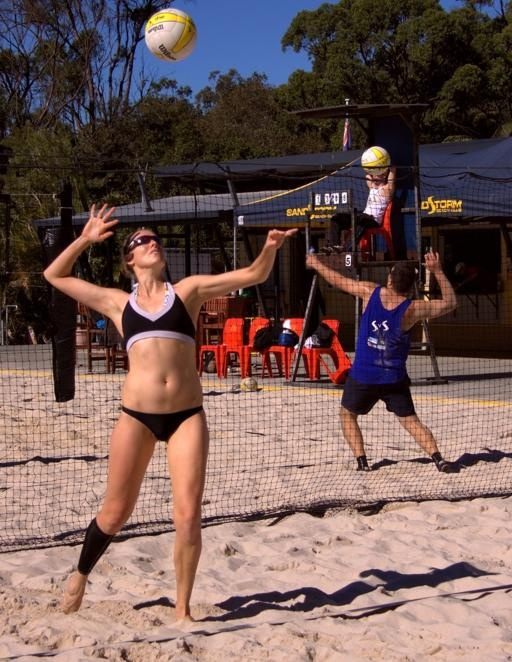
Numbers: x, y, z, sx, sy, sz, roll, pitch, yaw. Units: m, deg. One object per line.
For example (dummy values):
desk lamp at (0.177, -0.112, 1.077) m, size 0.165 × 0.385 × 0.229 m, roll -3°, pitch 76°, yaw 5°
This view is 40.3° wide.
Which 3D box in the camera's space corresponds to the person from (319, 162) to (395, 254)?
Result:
person at (1.257, -1.496, 8.591) m, size 0.666 × 1.171 × 0.669 m, roll 6°, pitch 8°, yaw 38°

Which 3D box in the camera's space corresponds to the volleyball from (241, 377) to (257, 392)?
volleyball at (-0.087, 0.706, 9.179) m, size 0.166 × 0.133 × 0.168 m, roll -4°, pitch 17°, yaw -22°

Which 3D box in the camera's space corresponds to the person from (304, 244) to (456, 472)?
person at (0.939, 0.274, 4.821) m, size 0.802 × 1.524 × 1.005 m, roll 1°, pitch 4°, yaw 16°

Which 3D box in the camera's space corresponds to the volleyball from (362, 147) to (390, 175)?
volleyball at (1.423, -2.015, 8.275) m, size 0.309 × 0.358 × 0.437 m, roll 0°, pitch 4°, yaw 10°
